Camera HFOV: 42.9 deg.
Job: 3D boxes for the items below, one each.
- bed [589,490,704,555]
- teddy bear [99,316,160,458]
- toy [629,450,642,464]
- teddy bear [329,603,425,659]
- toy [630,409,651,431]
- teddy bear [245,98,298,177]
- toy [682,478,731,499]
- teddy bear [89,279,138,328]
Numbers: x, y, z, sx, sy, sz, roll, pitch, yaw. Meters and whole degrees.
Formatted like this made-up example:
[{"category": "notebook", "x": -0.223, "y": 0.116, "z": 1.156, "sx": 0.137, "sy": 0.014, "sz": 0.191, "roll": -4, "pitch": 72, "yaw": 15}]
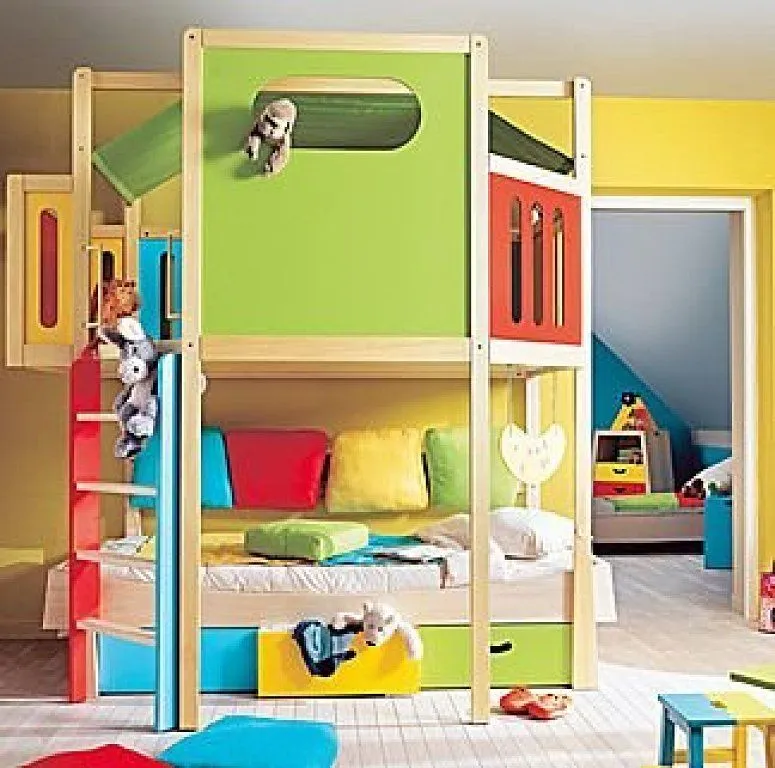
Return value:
[{"category": "bed", "x": 1.773, "y": 0.950, "z": 6.851, "sx": 0.530, "sy": 0.238, "sz": 0.424, "roll": 1, "pitch": -2, "yaw": 0}, {"category": "teddy bear", "x": -0.929, "y": 0.010, "z": 3.635, "sx": 0.239, "sy": 0.507, "sz": 0.198, "roll": 1, "pitch": 3, "yaw": 29}, {"category": "toy", "x": 1.959, "y": 0.572, "z": 7.766, "sx": 0.073, "sy": 0.039, "sz": 0.106, "roll": 2, "pitch": 9, "yaw": 8}, {"category": "teddy bear", "x": -0.043, "y": 0.931, "z": 3.751, "sx": 0.351, "sy": 0.227, "sz": 0.216, "roll": 0, "pitch": 3, "yaw": 2}, {"category": "toy", "x": 2.045, "y": 0.280, "z": 7.926, "sx": 0.162, "sy": 0.143, "sz": 0.181, "roll": 1, "pitch": 3, "yaw": 15}, {"category": "teddy bear", "x": -0.422, "y": -0.883, "z": 3.512, "sx": 0.168, "sy": 0.269, "sz": 0.125, "roll": 0, "pitch": 2, "yaw": -10}, {"category": "toy", "x": 2.196, "y": 0.728, "z": 6.921, "sx": 0.171, "sy": 0.093, "sz": 0.162, "roll": -4, "pitch": 2, "yaw": 12}, {"category": "teddy bear", "x": -1.107, "y": -0.307, "z": 3.912, "sx": 0.198, "sy": 0.240, "sz": 0.104, "roll": 2, "pitch": -14, "yaw": -11}]
